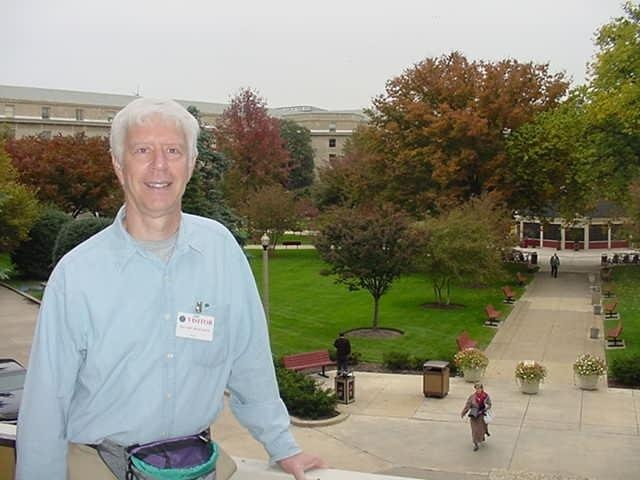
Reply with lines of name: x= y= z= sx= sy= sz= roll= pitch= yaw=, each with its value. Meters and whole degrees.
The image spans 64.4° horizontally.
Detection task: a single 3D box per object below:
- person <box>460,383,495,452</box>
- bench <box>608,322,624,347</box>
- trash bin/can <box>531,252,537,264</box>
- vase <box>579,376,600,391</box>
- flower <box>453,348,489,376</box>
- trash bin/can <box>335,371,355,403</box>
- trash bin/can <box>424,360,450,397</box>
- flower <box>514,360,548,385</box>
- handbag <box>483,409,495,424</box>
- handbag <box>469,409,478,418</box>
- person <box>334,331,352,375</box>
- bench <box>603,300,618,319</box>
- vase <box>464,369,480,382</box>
person: x=4.049 y=4.476 z=13.142 sx=0.677 sy=1.527 sz=0.989 roll=1 pitch=4 yaw=17
bench: x=13.916 y=4.435 z=23.953 sx=0.482 sy=0.601 sz=0.983 roll=-4 pitch=2 yaw=14
trash bin/can: x=22.190 y=1.910 z=52.655 sx=0.570 sy=1.158 sz=1.255 roll=1 pitch=4 yaw=20
vase: x=9.126 y=4.806 z=17.410 sx=0.583 sy=0.419 sz=0.570 roll=1 pitch=-5 yaw=-25
flower: x=5.579 y=4.436 z=18.718 sx=1.175 sy=1.182 sz=1.086 roll=0 pitch=-2 yaw=-1
trash bin/can: x=0.786 y=4.705 z=16.290 sx=0.612 sy=0.999 sz=0.456 roll=0 pitch=4 yaw=-1
trash bin/can: x=3.842 y=4.669 z=17.130 sx=1.131 sy=0.960 sz=1.182 roll=0 pitch=-2 yaw=17
flower: x=7.035 y=4.426 z=17.063 sx=0.780 sy=0.582 sz=0.815 roll=0 pitch=4 yaw=19
handbag: x=4.280 y=4.473 z=12.917 sx=0.245 sy=0.357 sz=0.175 roll=0 pitch=4 yaw=-4
handbag: x=3.841 y=4.308 z=12.829 sx=0.188 sy=0.186 sz=0.257 roll=12 pitch=20 yaw=23
person: x=0.800 y=4.117 z=18.618 sx=0.580 sy=1.785 sz=0.434 roll=-3 pitch=18 yaw=-4
bench: x=17.056 y=4.075 z=29.868 sx=0.417 sy=0.502 sz=0.782 roll=-3 pitch=2 yaw=13
vase: x=5.534 y=4.893 z=18.485 sx=0.491 sy=0.405 sz=0.538 roll=-1 pitch=2 yaw=36
